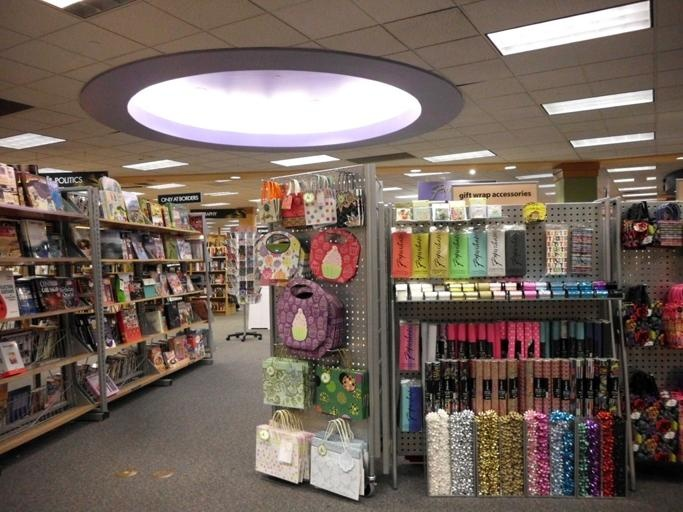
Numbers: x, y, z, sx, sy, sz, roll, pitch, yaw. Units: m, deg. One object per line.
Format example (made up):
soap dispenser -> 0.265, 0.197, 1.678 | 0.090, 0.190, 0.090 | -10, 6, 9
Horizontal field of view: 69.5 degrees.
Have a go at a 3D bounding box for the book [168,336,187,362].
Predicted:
book -> -2.476, 1.396, 7.414 | 0.139, 0.366, 0.364 | -5, -3, 12

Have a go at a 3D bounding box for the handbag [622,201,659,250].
handbag -> 2.572, -0.259, 4.266 | 0.318, 0.400, 0.132 | -1, -17, 6

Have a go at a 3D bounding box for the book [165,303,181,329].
book -> -2.502, 0.885, 7.264 | 0.157, 0.381, 0.408 | -2, -2, 7

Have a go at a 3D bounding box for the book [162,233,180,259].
book -> -2.596, -0.140, 7.470 | 0.057, 0.266, 0.392 | -9, -10, 16

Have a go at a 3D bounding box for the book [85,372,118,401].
book -> -2.872, 1.528, 5.832 | 0.104, 0.302, 0.271 | -33, 10, 27

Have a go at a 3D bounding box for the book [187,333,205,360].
book -> -2.306, 1.420, 7.775 | 0.178, 0.376, 0.431 | -6, -2, 9

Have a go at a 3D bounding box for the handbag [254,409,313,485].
handbag -> -0.491, 1.687, 4.326 | 0.616, 0.603, 0.289 | 3, 6, 29

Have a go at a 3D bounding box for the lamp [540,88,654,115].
lamp -> 3.698, -2.193, 7.084 | 1.449, 0.162, 0.515 | 1, 6, 19

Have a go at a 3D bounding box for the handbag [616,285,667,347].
handbag -> 2.583, 0.509, 4.235 | 0.528, 0.466, 0.138 | -4, -3, -5

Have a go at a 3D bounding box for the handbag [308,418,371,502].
handbag -> -0.015, 1.674, 4.202 | 0.520, 0.602, 0.319 | 1, 7, 27

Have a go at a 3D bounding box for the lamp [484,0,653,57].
lamp -> 2.434, -2.393, 5.250 | 1.553, 0.228, 0.494 | 1, 6, 23

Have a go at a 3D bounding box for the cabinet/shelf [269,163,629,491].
cabinet/shelf -> 0.916, 0.707, 4.219 | 3.099, 2.648, 1.021 | -1, -4, 12

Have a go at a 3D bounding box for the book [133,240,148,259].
book -> -2.746, -0.083, 6.688 | 0.028, 0.191, 0.257 | -28, 15, -3

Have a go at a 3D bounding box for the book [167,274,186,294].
book -> -2.543, 0.420, 7.533 | 0.031, 0.215, 0.280 | -26, 11, 11

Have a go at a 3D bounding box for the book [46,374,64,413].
book -> -3.203, 1.494, 5.484 | 0.151, 0.307, 0.372 | -4, 6, -16

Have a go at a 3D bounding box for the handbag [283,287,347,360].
handbag -> -0.226, 0.577, 4.312 | 0.704, 0.632, 0.332 | -1, 3, 25

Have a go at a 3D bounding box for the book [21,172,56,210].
book -> -3.154, -0.659, 5.117 | 0.103, 0.311, 0.257 | -5, 2, 24

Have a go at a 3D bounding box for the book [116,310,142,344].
book -> -2.757, 0.900, 6.416 | 0.395, 0.330, 0.378 | -10, -2, 7

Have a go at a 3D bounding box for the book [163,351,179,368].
book -> -2.499, 1.501, 7.180 | 0.038, 0.218, 0.260 | -16, 3, 14

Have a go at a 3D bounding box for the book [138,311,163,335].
book -> -2.672, 0.927, 6.940 | 0.390, 0.332, 0.273 | -1, -1, 4

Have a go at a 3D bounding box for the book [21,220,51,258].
book -> -3.190, -0.181, 5.142 | 0.085, 0.327, 0.343 | -8, 15, 8
